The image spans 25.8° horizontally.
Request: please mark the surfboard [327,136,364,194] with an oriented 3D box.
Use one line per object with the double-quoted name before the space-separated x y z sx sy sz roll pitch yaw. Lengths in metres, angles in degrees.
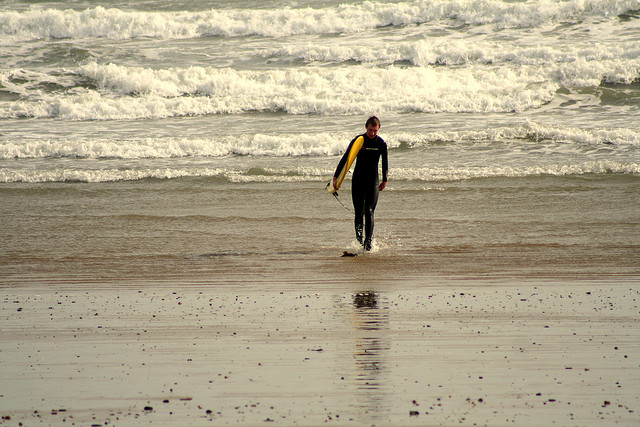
"surfboard" 0.814 -1.520 43.406 1.129 1.802 0.338 0 13 1
